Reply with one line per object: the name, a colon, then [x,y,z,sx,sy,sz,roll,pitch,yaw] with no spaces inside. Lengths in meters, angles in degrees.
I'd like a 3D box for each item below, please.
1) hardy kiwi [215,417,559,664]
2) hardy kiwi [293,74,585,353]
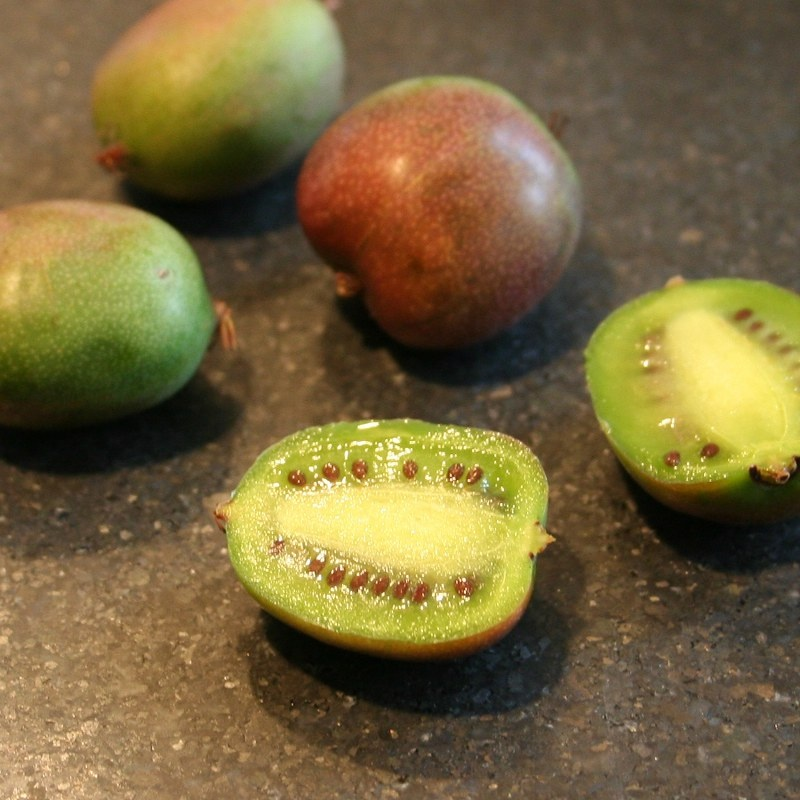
hardy kiwi: [-0.001,0.097,0.781,0.217,0.069,0.157,5,50,6]
hardy kiwi: [0.032,-0.149,0.959,0.257,0.206,0.221,-22,44,-32]
